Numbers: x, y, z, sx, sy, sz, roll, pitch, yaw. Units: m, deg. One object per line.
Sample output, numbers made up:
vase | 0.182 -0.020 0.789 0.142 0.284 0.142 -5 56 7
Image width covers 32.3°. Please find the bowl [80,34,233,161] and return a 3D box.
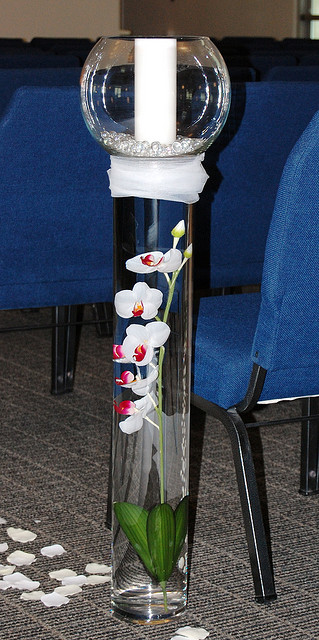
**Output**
bowl | -0.007 -0.260 0.715 0.156 0.175 0.178 1 19 2
